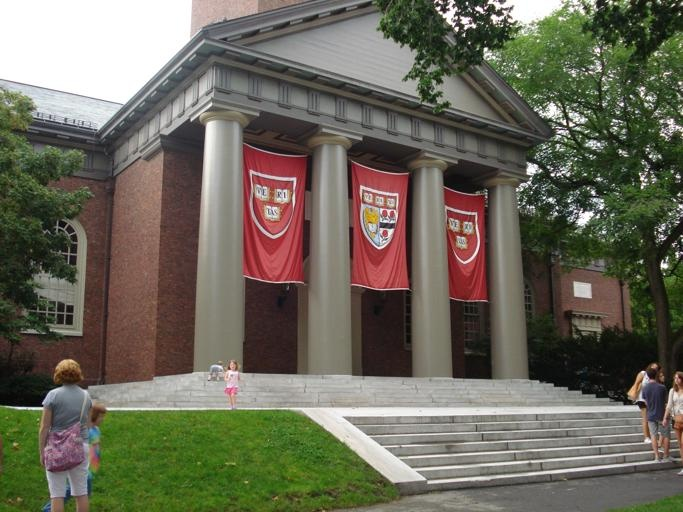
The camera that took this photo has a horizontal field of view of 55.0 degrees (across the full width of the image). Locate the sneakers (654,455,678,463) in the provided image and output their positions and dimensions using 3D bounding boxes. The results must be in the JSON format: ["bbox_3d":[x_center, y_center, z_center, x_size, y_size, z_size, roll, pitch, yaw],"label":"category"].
[{"bbox_3d":[7.917,4.945,15.940,0.570,0.223,0.194,1,-4,-6],"label":"sneakers"}]

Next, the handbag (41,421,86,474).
[{"bbox_3d":[-3.730,2.522,8.852,0.545,0.592,0.312,-11,-6,-2],"label":"handbag"}]

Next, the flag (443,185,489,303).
[{"bbox_3d":[4.843,-0.457,25.320,1.932,4.257,0.667,10,-15,-41],"label":"flag"}]
